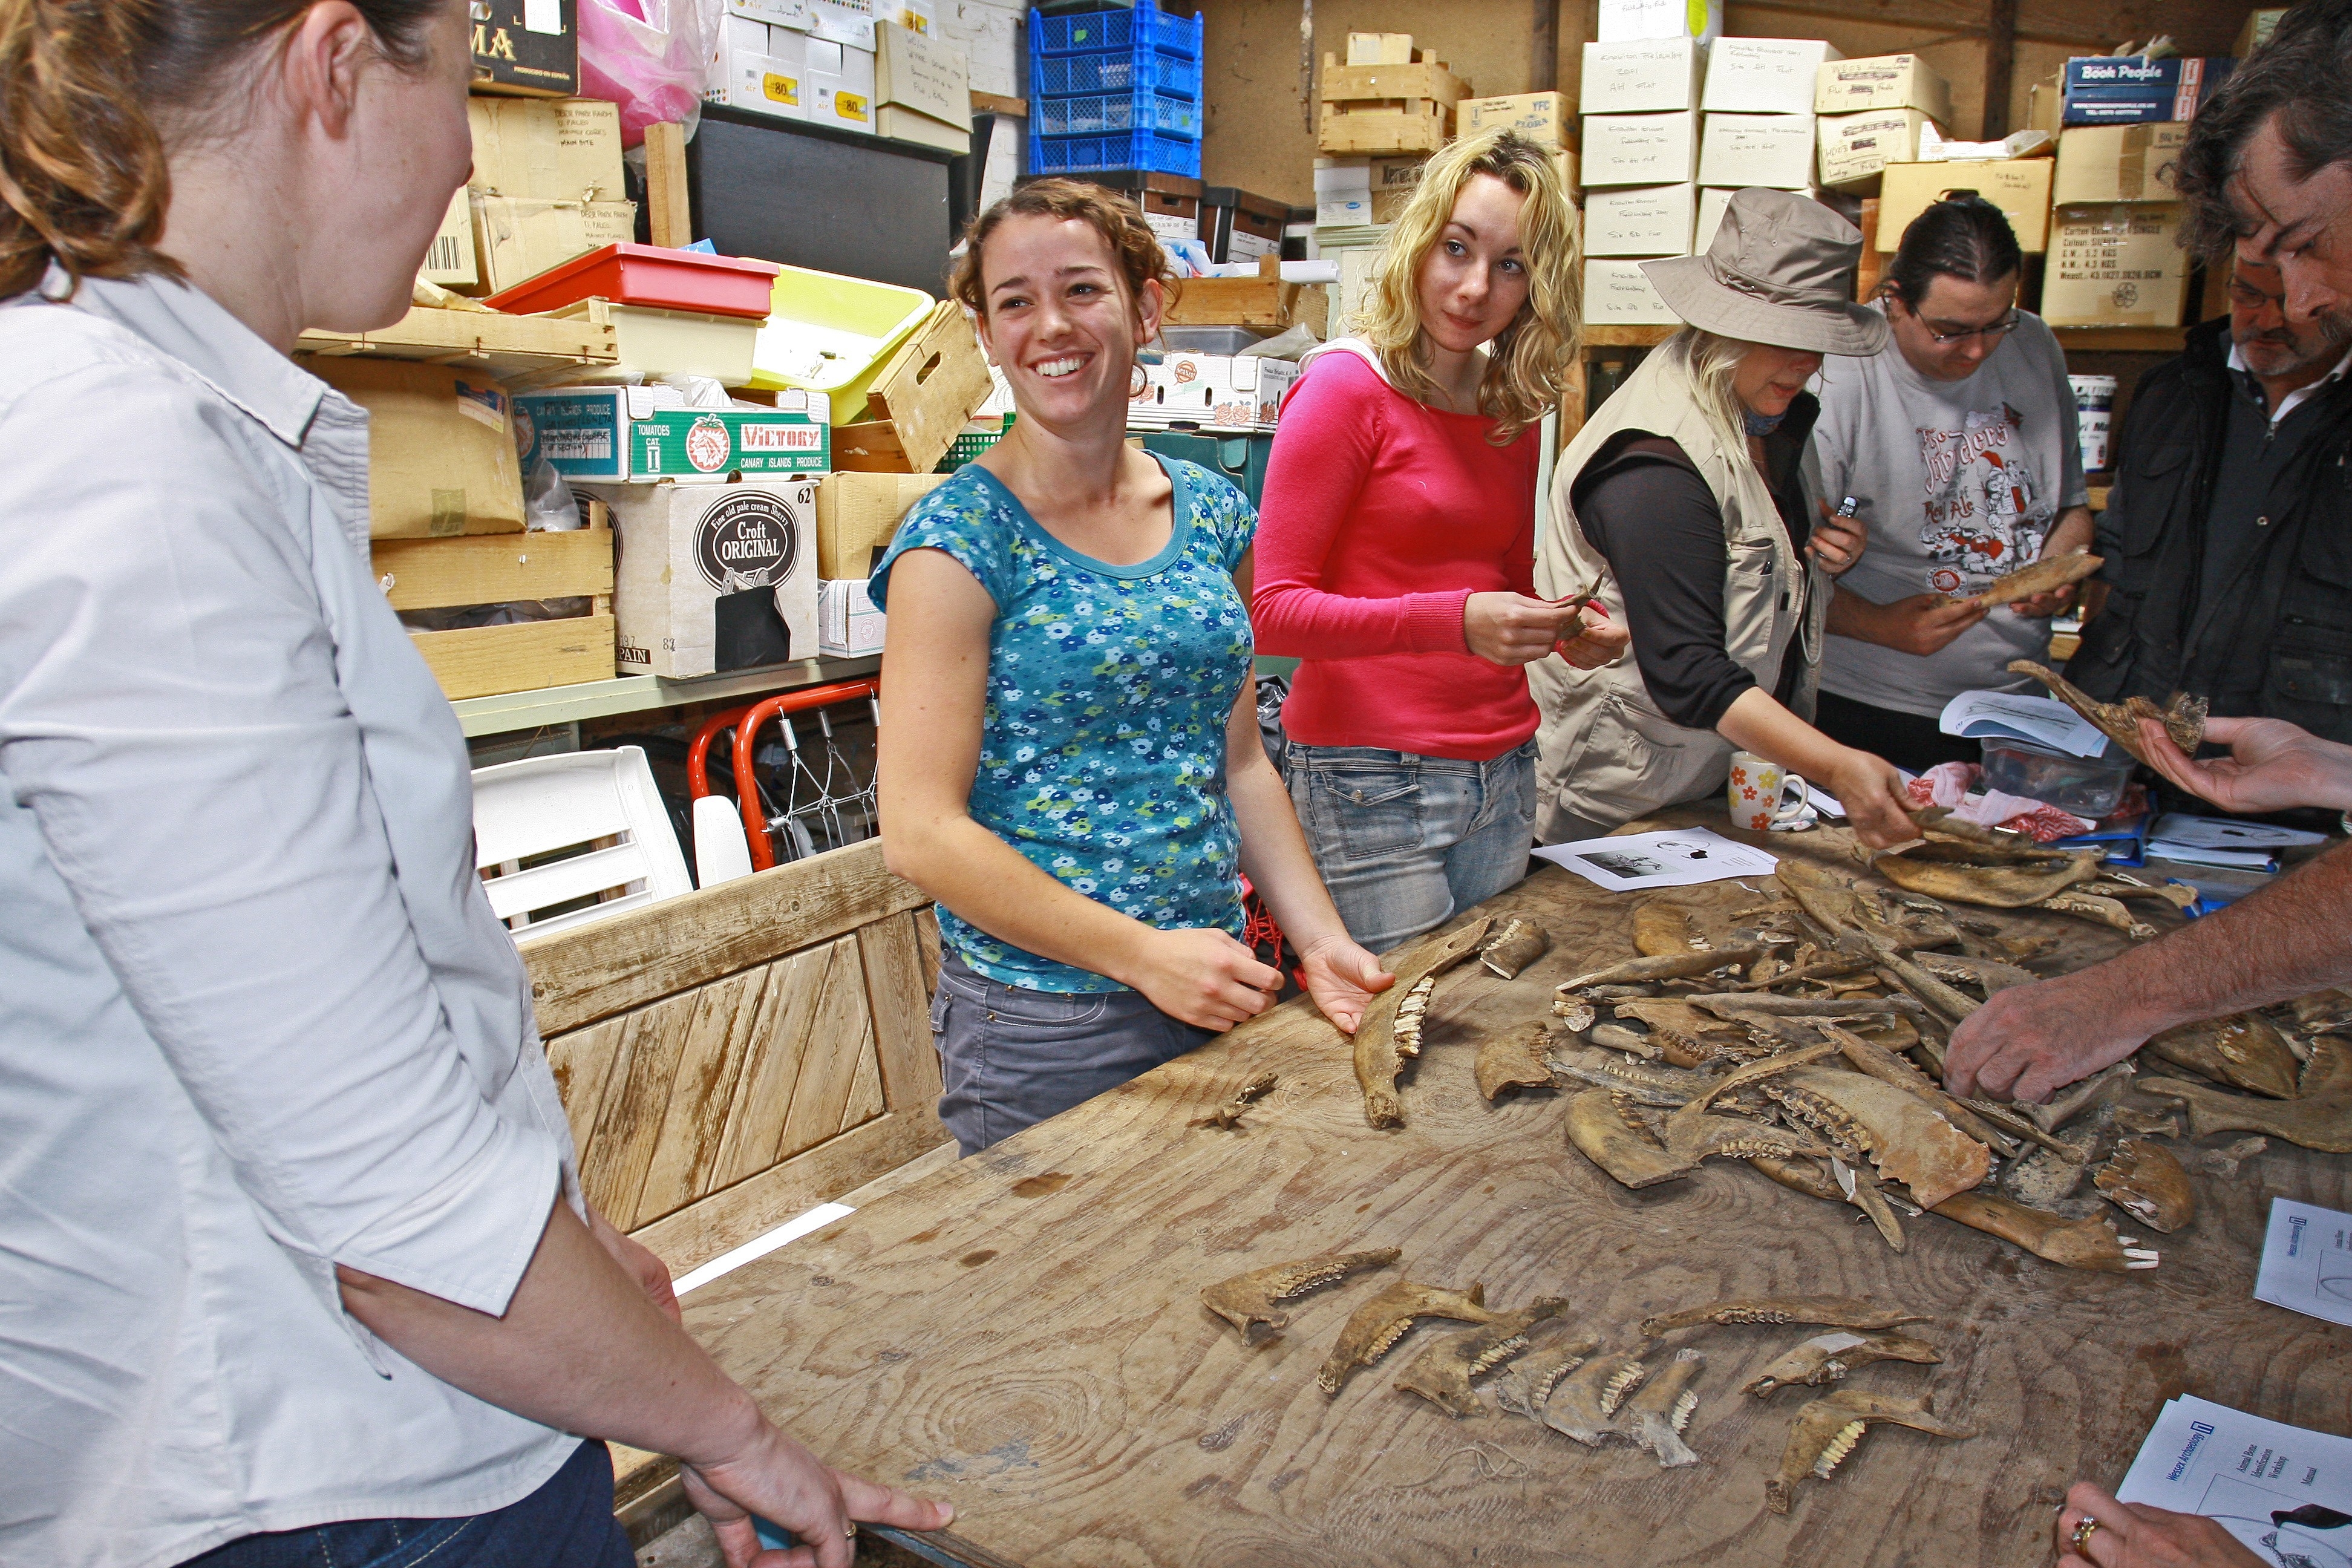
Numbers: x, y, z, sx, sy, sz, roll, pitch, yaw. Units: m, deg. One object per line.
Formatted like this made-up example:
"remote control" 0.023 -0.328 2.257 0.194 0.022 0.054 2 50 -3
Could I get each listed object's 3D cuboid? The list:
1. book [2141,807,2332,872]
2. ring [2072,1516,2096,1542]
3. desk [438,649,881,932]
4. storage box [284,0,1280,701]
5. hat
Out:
"book" 1.981 0.113 2.535 0.185 0.043 0.190 10 20 41
"ring" 0.731 0.602 1.087 0.017 0.011 0.011 16 56 3
"desk" -1.122 0.031 2.834 0.391 0.608 0.922 -24 -5 19
"storage box" -1.305 -0.862 3.512 1.519 1.356 0.870 1 -15 -9
"hat" 1.171 -1.022 2.682 0.445 0.327 0.369 7 19 23
